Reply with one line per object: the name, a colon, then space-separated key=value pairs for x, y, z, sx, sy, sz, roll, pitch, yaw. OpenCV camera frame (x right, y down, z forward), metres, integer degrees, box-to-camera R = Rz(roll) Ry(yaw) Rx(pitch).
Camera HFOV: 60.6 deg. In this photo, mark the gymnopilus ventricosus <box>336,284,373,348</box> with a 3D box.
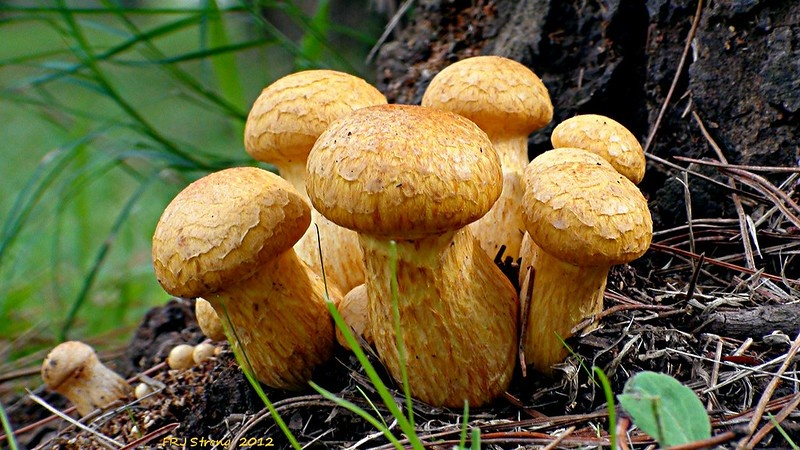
gymnopilus ventricosus: x=-0.263 y=0.609 z=4.637 sx=0.297 sy=0.386 sz=0.307 roll=19 pitch=-13 yaw=5
